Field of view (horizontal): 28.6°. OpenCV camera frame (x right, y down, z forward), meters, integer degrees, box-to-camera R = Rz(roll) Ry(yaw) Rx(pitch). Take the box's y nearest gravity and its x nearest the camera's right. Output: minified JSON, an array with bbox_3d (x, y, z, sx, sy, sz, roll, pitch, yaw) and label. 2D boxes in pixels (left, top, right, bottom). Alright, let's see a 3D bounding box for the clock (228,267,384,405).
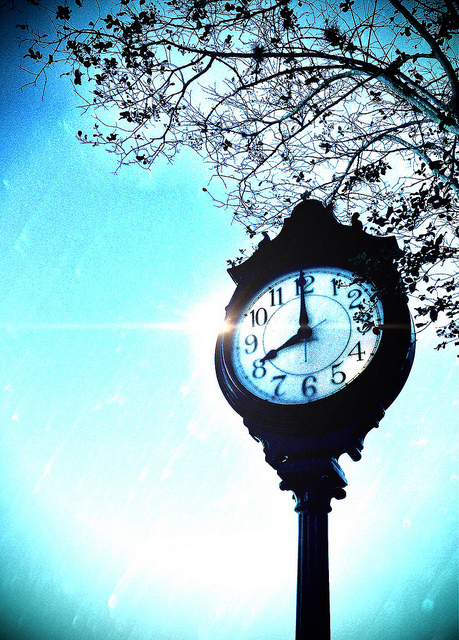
[{"bbox_3d":[0.739,0.143,8.916,1.768,1.556,0.140,-10,-25,26],"label":"clock"}]
